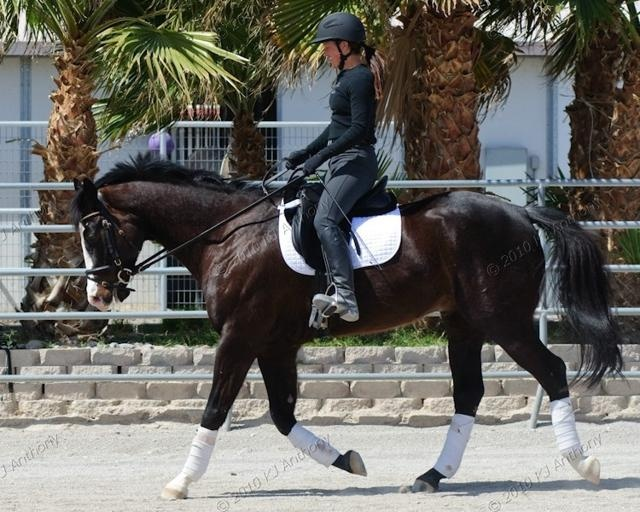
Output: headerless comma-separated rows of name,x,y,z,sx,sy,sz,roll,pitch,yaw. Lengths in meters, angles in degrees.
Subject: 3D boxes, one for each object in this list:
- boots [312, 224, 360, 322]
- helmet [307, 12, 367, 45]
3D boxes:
boots,0.136,0.260,13.505,0.448,0.831,0.300,-1,3,1
helmet,0.170,-2.190,13.857,0.561,0.291,0.426,-1,12,16
